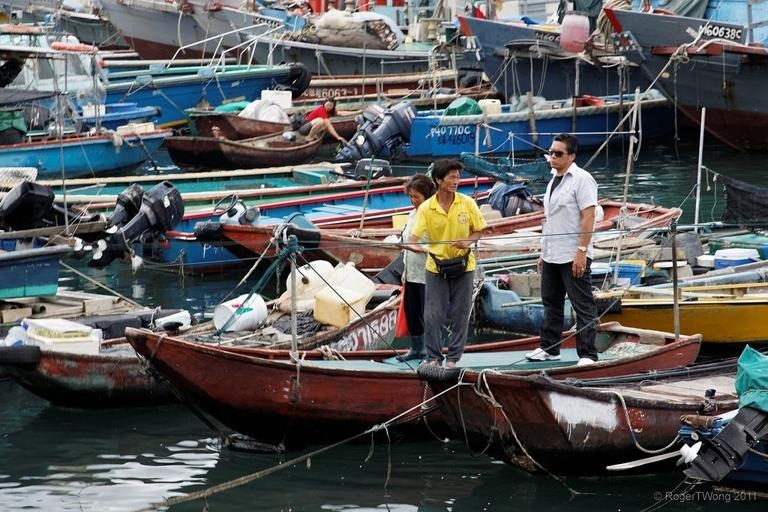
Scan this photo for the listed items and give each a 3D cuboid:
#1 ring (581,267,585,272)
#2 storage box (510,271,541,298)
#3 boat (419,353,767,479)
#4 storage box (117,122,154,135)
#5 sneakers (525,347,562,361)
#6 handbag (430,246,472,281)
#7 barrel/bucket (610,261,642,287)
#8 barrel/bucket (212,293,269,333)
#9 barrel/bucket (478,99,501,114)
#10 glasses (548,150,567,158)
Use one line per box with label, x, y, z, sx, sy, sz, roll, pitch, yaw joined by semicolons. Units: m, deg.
ring;2.582;0.170;16.355;0.041;0.018;0.049;5;46;4
storage box;2.197;0.425;19.502;0.654;0.375;0.340;0;11;12
boat;2.603;2.018;16.105;3.389;0.935;2.010;2;-3;-22
storage box;-5.432;-2.793;28.076;0.659;0.174;0.583;-3;3;-17
sneakers;2.128;1.295;16.959;0.508;0.184;0.167;3;4;-2
handbag;0.874;0.074;16.388;0.399;0.184;0.398;-7;42;-4
barrel/bucket;3.737;0.251;19.455;0.469;0.382;0.725;3;13;24
barrel/bucket;-1.964;0.806;17.708;0.346;0.313;0.499;-31;-10;40
barrel/bucket;2.599;-3.545;30.442;0.517;0.406;0.447;0;-1;-13
glasses;2.229;-1.318;16.439;0.233;0.098;0.086;8;17;42
